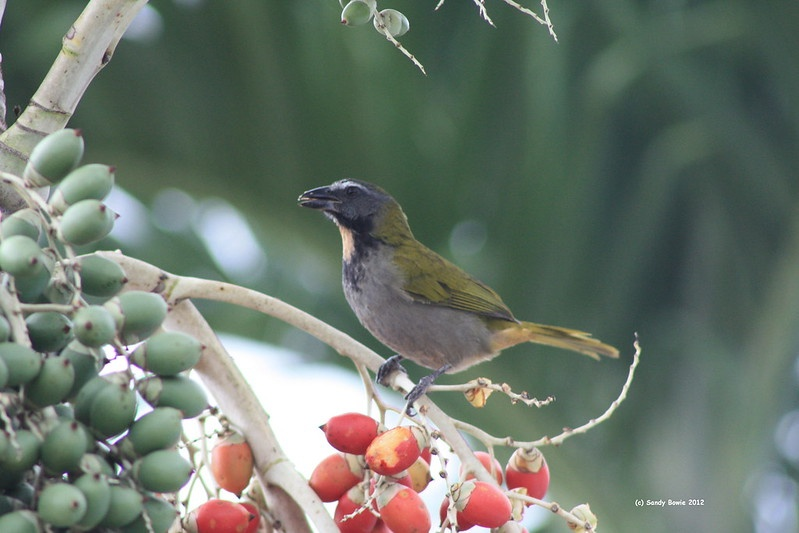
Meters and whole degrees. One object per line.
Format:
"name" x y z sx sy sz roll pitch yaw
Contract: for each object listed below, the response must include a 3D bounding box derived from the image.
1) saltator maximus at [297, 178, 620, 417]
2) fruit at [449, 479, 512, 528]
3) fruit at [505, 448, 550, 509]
"saltator maximus" 0.195 0.061 3.438 0.995 0.668 0.348 1 -2 -16
"fruit" 0.173 0.503 2.280 0.119 0.082 0.078 20 -62 15
"fruit" 0.283 0.494 2.504 0.113 0.180 0.111 -2 -2 -2
